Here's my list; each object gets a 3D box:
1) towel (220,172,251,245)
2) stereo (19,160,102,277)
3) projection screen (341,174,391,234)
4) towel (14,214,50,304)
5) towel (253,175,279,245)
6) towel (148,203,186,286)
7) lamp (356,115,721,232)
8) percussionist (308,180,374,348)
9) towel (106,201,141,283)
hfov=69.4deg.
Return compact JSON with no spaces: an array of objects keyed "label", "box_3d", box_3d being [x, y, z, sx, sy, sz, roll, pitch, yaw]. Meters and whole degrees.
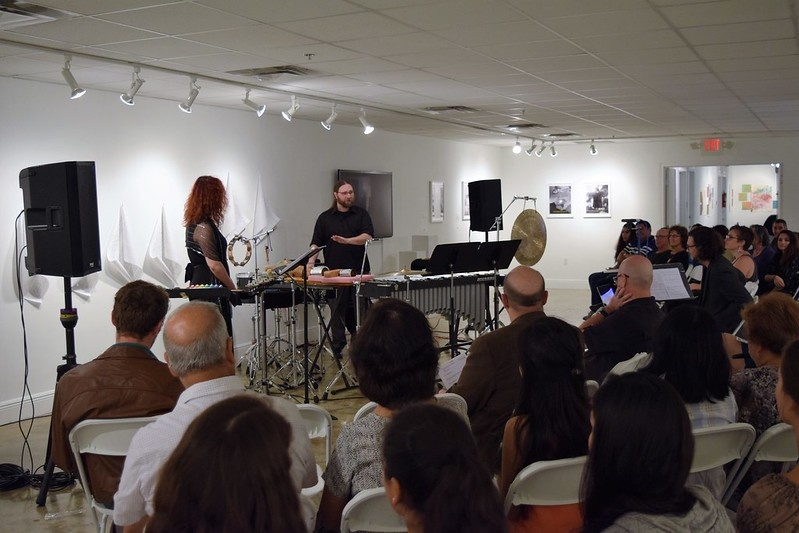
[{"label":"towel","box_3d":[-2.135,-0.706,7.620,0.247,1.306,0.615,9,47,-2]},{"label":"stereo","box_3d":[-2.715,-0.375,4.573,0.580,0.906,0.284,1,6,5]},{"label":"projection screen","box_3d":[-0.547,-1.191,10.080,0.051,0.954,1.345,-15,19,-42]},{"label":"towel","box_3d":[-3.584,-0.135,5.605,0.179,0.480,0.128,12,-10,-20]},{"label":"towel","box_3d":[-1.793,-0.776,7.630,0.277,0.788,0.179,-17,44,-19]},{"label":"towel","box_3d":[-2.780,-0.248,6.727,0.397,0.918,0.358,4,-26,-27]},{"label":"lamp","box_3d":[3.735,-1.821,13.244,6.359,2.050,2.411,-1,6,-9]},{"label":"percussionist","box_3d":[-0.786,0.070,7.606,0.917,2.345,0.779,-4,16,-11]},{"label":"towel","box_3d":[-3.024,-0.217,6.300,0.399,0.879,0.213,-6,9,-44]}]
